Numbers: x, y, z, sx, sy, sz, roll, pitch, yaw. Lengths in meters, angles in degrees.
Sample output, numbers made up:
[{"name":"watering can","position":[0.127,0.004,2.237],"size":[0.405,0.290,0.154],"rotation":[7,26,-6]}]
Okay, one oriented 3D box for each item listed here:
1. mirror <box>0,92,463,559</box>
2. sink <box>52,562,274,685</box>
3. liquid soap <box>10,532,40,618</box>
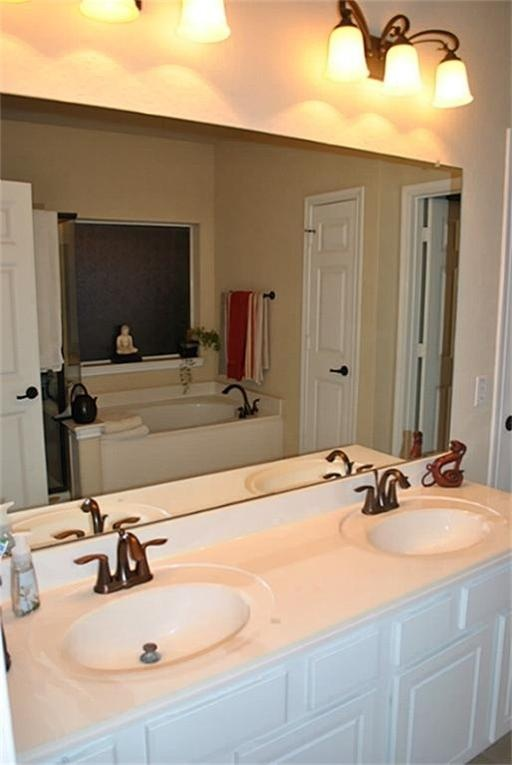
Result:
[{"name":"mirror","position":[-0.077,-0.141,1.450],"size":[1.354,0.992,0.031],"rotation":[-4,7,-32]},{"name":"sink","position":[-0.168,0.494,1.168],"size":[0.432,0.095,0.363],"rotation":[-3,9,-24]},{"name":"liquid soap","position":[-0.469,0.376,1.124],"size":[0.067,0.165,0.056],"rotation":[2,8,9]}]
